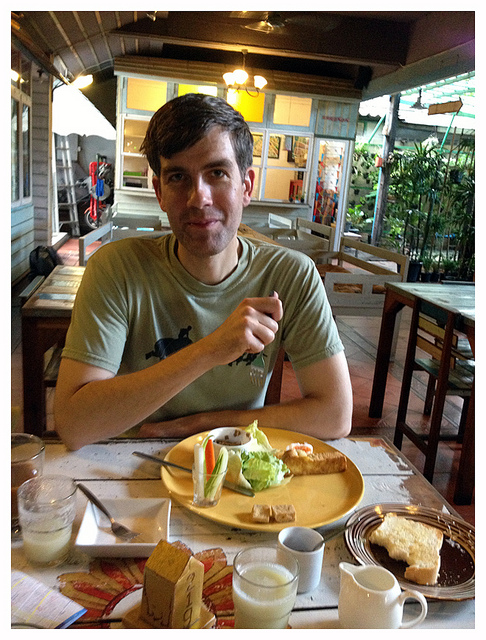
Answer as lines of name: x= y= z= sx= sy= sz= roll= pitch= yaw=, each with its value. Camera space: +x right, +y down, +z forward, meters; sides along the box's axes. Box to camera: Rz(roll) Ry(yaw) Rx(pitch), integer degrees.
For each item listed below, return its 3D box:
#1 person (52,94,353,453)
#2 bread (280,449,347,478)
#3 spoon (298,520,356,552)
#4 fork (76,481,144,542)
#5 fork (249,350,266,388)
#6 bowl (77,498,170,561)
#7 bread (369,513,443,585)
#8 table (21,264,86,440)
person: x=-0.086 y=-0.134 z=1.229 sx=0.812 sy=0.928 sz=0.604 roll=-1 pitch=15 yaw=-23
bread: x=0.164 y=0.300 z=0.970 sx=0.154 sy=0.053 sz=0.059 roll=2 pitch=-7 yaw=-14
spoon: x=0.142 y=0.363 z=0.756 sx=0.131 sy=0.023 sz=0.010 roll=-27 pitch=-37 yaw=13
fork: x=-0.235 y=0.325 z=0.763 sx=0.154 sy=0.022 sz=0.026 roll=28 pitch=14 yaw=21
fork: x=0.048 y=0.133 z=1.312 sx=0.026 sy=0.145 sz=0.021 roll=7 pitch=-32 yaw=15
bowl: x=-0.197 y=0.348 z=0.745 sx=0.115 sy=0.030 sz=0.117 roll=4 pitch=17 yaw=-1
bread: x=0.280 y=0.370 z=0.767 sx=0.117 sy=0.040 sz=0.170 roll=11 pitch=15 yaw=26
table: x=-1.057 y=0.194 z=2.515 sx=0.275 sy=0.748 sz=0.970 roll=0 pitch=14 yaw=-20
